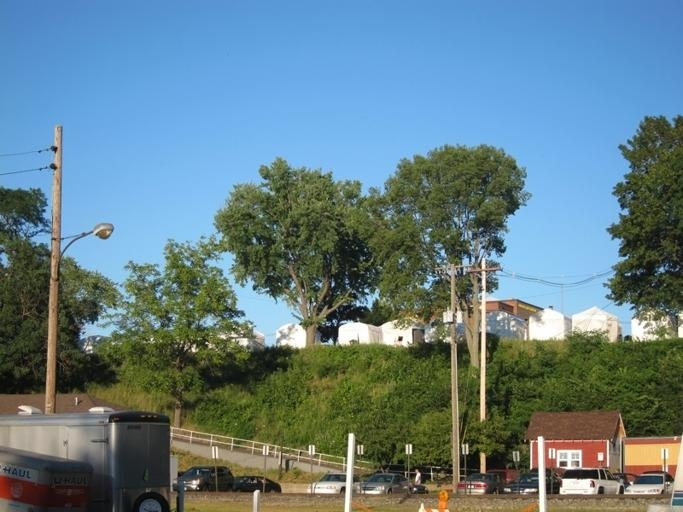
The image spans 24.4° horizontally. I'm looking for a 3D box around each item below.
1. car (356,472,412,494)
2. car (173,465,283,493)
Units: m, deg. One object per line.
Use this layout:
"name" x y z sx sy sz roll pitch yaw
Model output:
"car" 3.338 17.441 121.018 3.855 1.639 2.120 1 -12 -9
"car" -8.870 17.987 125.681 8.716 2.762 3.616 10 -15 -24
